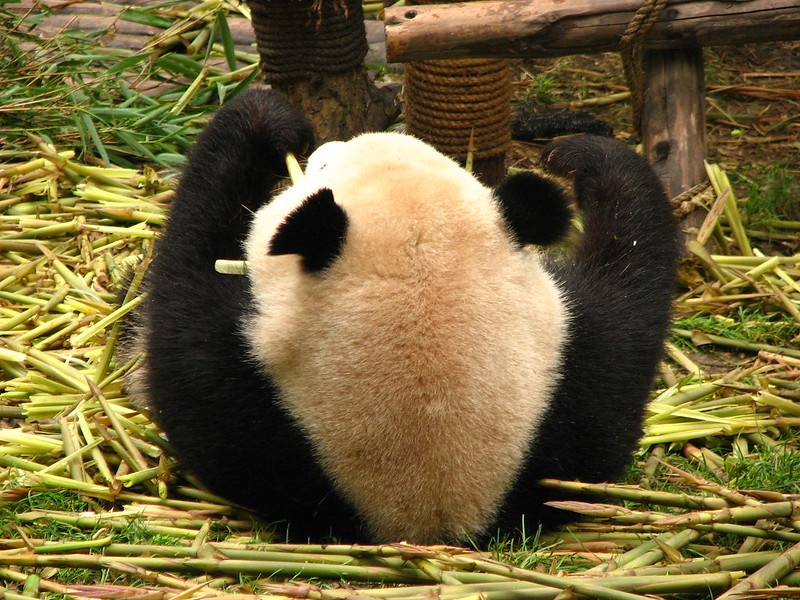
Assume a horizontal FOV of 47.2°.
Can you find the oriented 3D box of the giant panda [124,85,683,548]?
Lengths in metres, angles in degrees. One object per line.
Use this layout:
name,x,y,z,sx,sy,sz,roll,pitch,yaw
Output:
giant panda,-0.002,0.193,3.123,2.428,1.185,1.155,8,68,-2
